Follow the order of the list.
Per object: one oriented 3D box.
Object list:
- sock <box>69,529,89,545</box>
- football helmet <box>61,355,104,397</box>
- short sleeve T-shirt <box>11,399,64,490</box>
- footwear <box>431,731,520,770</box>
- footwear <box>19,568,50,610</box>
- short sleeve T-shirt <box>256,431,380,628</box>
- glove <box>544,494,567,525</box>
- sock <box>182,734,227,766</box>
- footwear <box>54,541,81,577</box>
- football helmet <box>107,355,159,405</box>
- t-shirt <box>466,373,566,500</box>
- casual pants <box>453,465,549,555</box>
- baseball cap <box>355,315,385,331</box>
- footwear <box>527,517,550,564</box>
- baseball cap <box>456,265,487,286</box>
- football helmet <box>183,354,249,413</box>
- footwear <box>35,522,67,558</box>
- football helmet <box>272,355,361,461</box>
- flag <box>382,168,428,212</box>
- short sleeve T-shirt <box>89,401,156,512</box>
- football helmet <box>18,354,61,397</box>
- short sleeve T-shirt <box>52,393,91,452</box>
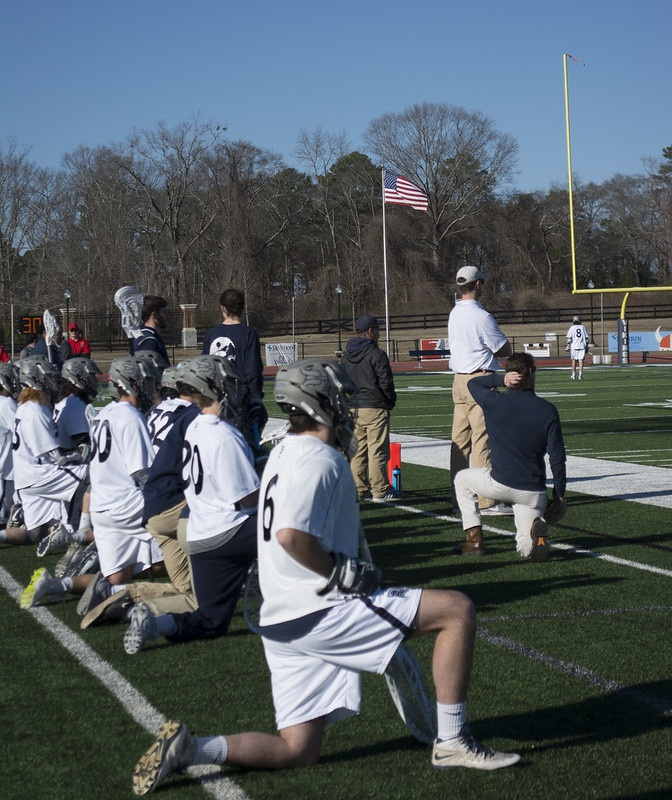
[{"bbox_3d":[-1.951,1.041,6.952,0.096,0.079,0.121,-2,-5,-30],"label":"sock"},{"bbox_3d":[-2.181,-0.203,8.015,0.404,0.362,0.300,-7,11,-13],"label":"football helmet"},{"bbox_3d":[-2.430,0.372,7.454,0.366,0.693,0.715,-8,11,-30],"label":"short sleeve T-shirt"},{"bbox_3d":[0.476,1.255,3.333,0.367,0.157,0.127,-1,2,-3],"label":"footwear"},{"bbox_3d":[-1.911,1.204,5.797,0.123,0.275,0.146,39,2,-26],"label":"footwear"},{"bbox_3d":[-0.088,0.461,3.157,0.366,0.664,0.373,-1,3,-5],"label":"short sleeve T-shirt"},{"bbox_3d":[1.556,0.768,6.484,0.156,0.185,0.256,16,13,13],"label":"glove"},{"bbox_3d":[-0.426,1.172,3.101,0.082,0.104,0.135,13,-6,44],"label":"sock"},{"bbox_3d":[-1.876,1.110,6.394,0.113,0.265,0.098,38,-16,-10],"label":"footwear"},{"bbox_3d":[-1.391,-0.133,6.031,0.352,0.315,0.279,-6,9,-21],"label":"football helmet"},{"bbox_3d":[1.303,0.259,6.605,0.720,0.911,0.485,1,8,17],"label":"t-shirt"},{"bbox_3d":[1.231,0.750,6.708,0.706,0.799,0.646,7,7,14],"label":"casual pants"},{"bbox_3d":[0.347,-0.783,9.442,0.242,0.116,0.156,-12,17,-28],"label":"baseball cap"},{"bbox_3d":[1.385,0.958,6.248,0.127,0.288,0.145,-2,11,0],"label":"footwear"},{"bbox_3d":[1.172,-1.085,8.007,0.164,0.123,0.253,8,15,42],"label":"baseball cap"},{"bbox_3d":[-0.680,-0.106,5.098,0.339,0.296,0.296,-10,10,-32],"label":"football helmet"},{"bbox_3d":[-2.256,1.104,7.248,0.140,0.106,0.303,-35,-5,-42],"label":"footwear"},{"bbox_3d":[-0.081,0.015,3.336,0.301,0.340,0.297,0,0,26],"label":"football helmet"},{"bbox_3d":[2.609,-7.931,34.808,1.604,1.430,1.055,0,3,2],"label":"flag"},{"bbox_3d":[-1.318,0.371,5.658,0.641,0.664,0.275,10,15,43],"label":"short sleeve T-shirt"},{"bbox_3d":[-2.457,-0.205,7.710,0.381,0.334,0.320,-6,12,-37],"label":"football helmet"},{"bbox_3d":[-2.414,0.226,8.215,0.263,0.534,0.675,2,-7,-43],"label":"short sleeve T-shirt"}]
